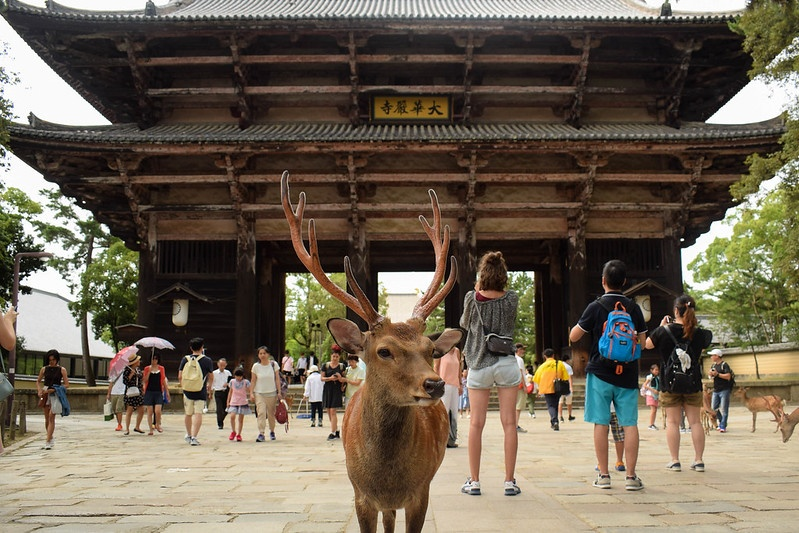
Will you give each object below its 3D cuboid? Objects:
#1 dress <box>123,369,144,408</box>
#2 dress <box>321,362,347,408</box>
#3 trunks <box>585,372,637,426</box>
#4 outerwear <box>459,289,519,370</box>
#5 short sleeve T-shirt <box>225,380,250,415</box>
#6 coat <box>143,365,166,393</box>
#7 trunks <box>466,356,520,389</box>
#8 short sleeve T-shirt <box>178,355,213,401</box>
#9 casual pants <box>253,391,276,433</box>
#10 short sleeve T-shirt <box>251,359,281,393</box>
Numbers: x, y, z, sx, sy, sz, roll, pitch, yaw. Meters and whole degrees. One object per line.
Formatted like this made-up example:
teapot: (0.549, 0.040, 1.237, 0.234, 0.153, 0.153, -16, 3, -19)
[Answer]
dress: (-7.518, 3.459, 24.681, 0.628, 1.029, 0.326, 2, 1, 6)
dress: (-1.805, 3.423, 24.179, 0.712, 1.460, 0.422, 1, -6, 1)
trunks: (4.416, 2.759, 18.138, 1.152, 1.342, 0.520, 2, -2, 15)
outerwear: (1.842, 1.290, 18.451, 1.301, 1.541, 0.644, 3, 11, 0)
short sleeve T-shirt: (-4.316, 3.537, 23.559, 0.543, 0.919, 0.485, 2, -11, -12)
coat: (-6.881, 3.208, 24.480, 0.896, 0.902, 0.497, 0, -3, -11)
trunks: (1.987, 2.334, 17.987, 1.293, 0.806, 0.641, -4, -52, 5)
short sleeve T-shirt: (-5.332, 2.947, 23.254, 1.046, 1.282, 0.741, 2, -1, 17)
casual pants: (-3.606, 3.933, 23.458, 0.629, 1.039, 0.346, 1, -1, -22)
short sleeve T-shirt: (-3.562, 2.963, 23.188, 0.717, 0.862, 0.376, 4, -11, -20)
